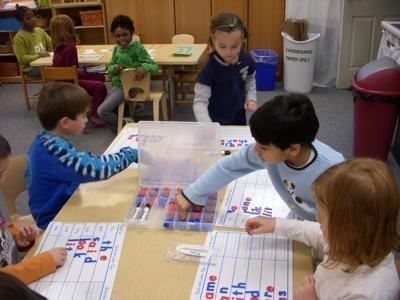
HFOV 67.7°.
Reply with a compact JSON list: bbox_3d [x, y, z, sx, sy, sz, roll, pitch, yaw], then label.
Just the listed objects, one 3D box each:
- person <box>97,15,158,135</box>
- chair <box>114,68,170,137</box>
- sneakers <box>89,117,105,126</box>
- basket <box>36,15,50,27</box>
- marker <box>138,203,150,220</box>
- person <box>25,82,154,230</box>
[{"bbox_3d":[-0.985,-0.901,3.805,0.669,1.492,0.774,13,26,30],"label":"person"},{"bbox_3d":[-0.705,-0.690,3.785,0.615,0.966,0.707,2,39,1],"label":"chair"},{"bbox_3d":[-1.441,-0.385,4.180,0.283,0.108,0.120,13,2,9],"label":"sneakers"},{"bbox_3d":[-2.981,-2.467,5.664,0.189,0.217,0.209,-3,15,-9],"label":"basket"},{"bbox_3d":[-0.236,0.261,1.256,0.019,0.015,0.073,37,34,-12],"label":"marker"},{"bbox_3d":[-0.695,0.222,1.701,0.546,1.172,0.525,-3,31,-36],"label":"person"}]
